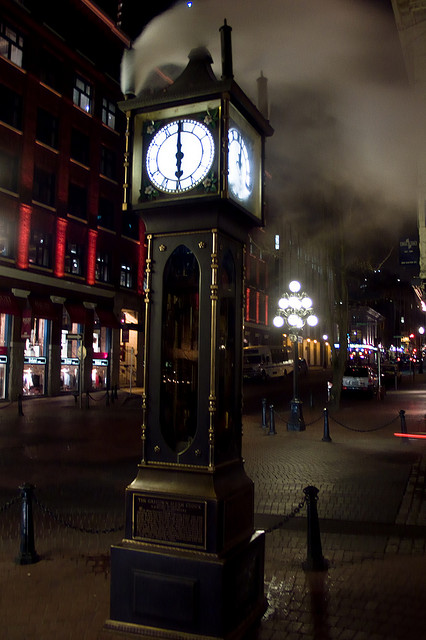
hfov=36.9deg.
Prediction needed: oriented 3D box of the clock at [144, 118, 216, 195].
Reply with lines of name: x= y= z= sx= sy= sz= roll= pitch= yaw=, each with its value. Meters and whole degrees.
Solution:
clock: x=-0.227 y=-1.211 z=4.737 sx=0.353 sy=0.530 sz=0.024 roll=-14 pitch=-11 yaw=26

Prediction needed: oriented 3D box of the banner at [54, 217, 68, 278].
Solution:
banner: x=-6.989 y=-3.249 z=28.746 sx=0.292 sy=2.535 sz=0.568 roll=-2 pitch=-4 yaw=33

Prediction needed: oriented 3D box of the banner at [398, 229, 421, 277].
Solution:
banner: x=12.923 y=-4.212 z=41.945 sx=1.288 sy=3.016 sz=2.692 roll=1 pitch=-3 yaw=19

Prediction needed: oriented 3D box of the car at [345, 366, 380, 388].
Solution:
car: x=6.762 y=2.616 z=29.089 sx=0.815 sy=0.939 sz=2.133 roll=0 pitch=4 yaw=20

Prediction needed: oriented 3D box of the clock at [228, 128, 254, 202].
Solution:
clock: x=0.207 y=-1.208 z=4.942 sx=0.036 sy=0.675 sz=0.522 roll=-2 pitch=-6 yaw=14

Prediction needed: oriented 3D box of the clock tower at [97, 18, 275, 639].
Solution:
clock tower: x=-0.147 y=0.009 z=4.713 sx=1.230 sy=4.501 sz=1.123 roll=2 pitch=-3 yaw=-12
